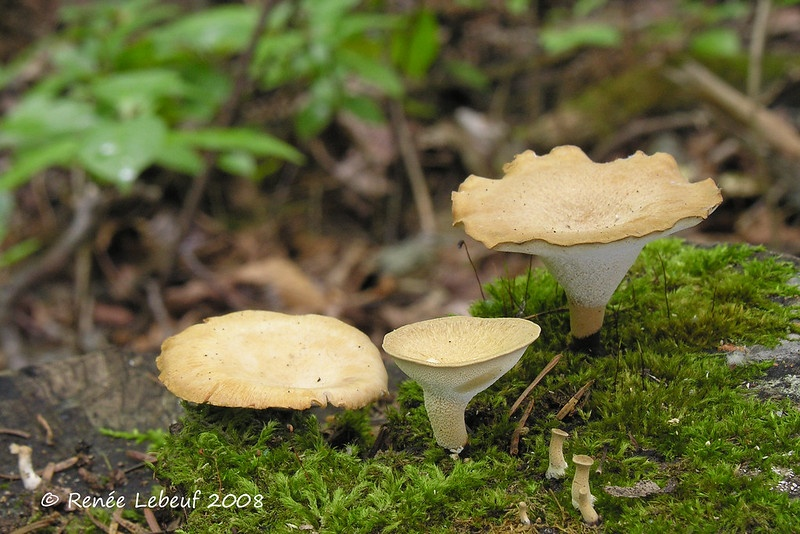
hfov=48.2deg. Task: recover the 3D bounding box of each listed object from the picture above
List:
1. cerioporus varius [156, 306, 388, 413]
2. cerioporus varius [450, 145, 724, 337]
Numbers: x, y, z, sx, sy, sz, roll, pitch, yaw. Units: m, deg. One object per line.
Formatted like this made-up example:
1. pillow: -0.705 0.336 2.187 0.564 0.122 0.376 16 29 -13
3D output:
1. cerioporus varius: -0.815 0.608 5.777 1.444 0.374 0.846 -5 40 7
2. cerioporus varius: 1.148 -0.345 5.773 2.055 1.782 0.907 -6 13 -20
